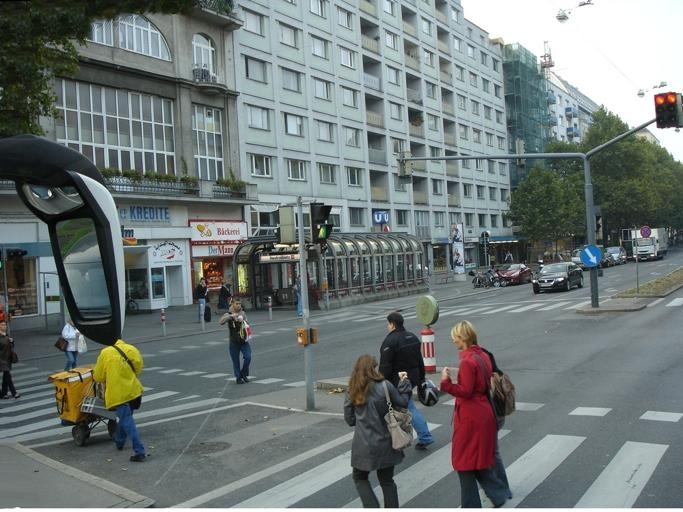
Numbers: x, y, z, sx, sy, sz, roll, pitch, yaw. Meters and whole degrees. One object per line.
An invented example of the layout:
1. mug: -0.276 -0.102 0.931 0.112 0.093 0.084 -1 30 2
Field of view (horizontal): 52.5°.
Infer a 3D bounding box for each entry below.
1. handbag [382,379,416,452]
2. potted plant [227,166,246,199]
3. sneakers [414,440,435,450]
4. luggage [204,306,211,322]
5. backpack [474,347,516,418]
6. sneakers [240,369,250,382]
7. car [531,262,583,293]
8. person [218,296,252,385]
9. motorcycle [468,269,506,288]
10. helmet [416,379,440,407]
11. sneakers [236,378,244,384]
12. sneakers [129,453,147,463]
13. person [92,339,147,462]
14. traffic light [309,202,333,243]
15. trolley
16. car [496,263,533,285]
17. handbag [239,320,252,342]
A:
1. handbag: 0.801 2.283 9.795 0.385 0.935 0.284 -6 -1 1
2. potted plant: -6.153 -4.351 40.702 0.465 1.550 1.290 -8 -2 41
3. sneakers: 1.448 3.250 11.988 0.347 0.157 0.128 3 -5 -18
4. luggage: -5.830 2.478 30.031 0.221 0.666 0.794 -6 -2 -8
5. backpack: 2.240 1.845 10.009 0.484 0.918 0.323 -2 10 21
6. sneakers: -2.397 2.944 17.164 0.140 0.175 0.394 1 7 8
7. car: 11.297 1.102 36.248 1.375 1.608 4.004 -8 -2 39
8. person: -2.583 2.107 17.190 0.628 1.836 0.673 -6 -1 -7
9. motorcycle: 9.065 1.422 43.598 1.977 1.278 1.040 -4 -2 -16
10. helmet: 1.340 2.140 10.723 0.331 0.476 0.413 -1 -16 4
11. sneakers: -2.486 3.066 17.054 0.242 0.176 0.084 -3 -1 13
12. sneakers: -3.546 3.519 12.084 0.263 0.120 0.119 4 3 30
13. person: -3.892 2.558 12.249 0.769 1.808 0.428 -6 -1 -11
14. traffic light: -0.443 -0.724 15.410 0.481 0.816 1.688 -6 -2 -2
15. trolley: -5.087 2.769 13.140 0.825 1.152 1.089 -2 -2 37
16. car: 11.094 1.118 44.111 1.137 0.848 2.517 -6 -5 29
17. handbag: -2.394 1.857 17.363 0.207 0.478 0.614 -6 -2 3
